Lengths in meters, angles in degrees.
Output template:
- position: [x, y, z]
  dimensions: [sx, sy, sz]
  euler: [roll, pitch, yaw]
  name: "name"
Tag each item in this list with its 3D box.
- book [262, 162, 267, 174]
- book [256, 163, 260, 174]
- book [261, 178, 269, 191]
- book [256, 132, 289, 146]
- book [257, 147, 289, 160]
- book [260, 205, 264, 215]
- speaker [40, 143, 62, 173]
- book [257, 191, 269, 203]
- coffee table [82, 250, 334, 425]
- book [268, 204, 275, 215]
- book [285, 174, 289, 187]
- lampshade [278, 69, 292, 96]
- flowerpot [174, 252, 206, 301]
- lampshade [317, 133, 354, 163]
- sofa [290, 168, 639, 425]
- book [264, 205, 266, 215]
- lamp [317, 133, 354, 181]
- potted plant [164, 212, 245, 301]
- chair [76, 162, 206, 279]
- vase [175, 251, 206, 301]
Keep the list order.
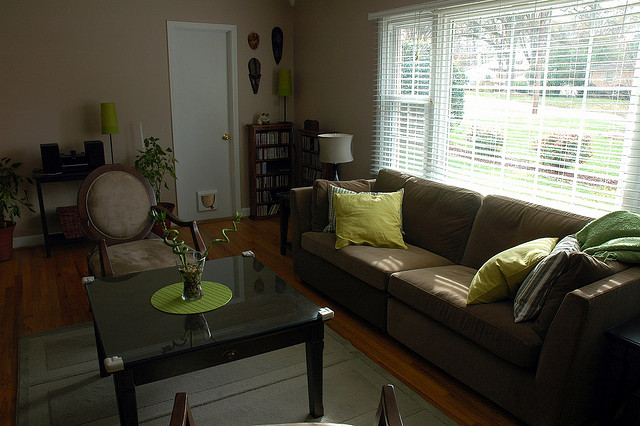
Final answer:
- position: [-0.768, -0.619, 6.129]
  dimensions: [0.029, 0.119, 0.122]
  euler: [6, 7, 11]
  name: "book"
- position: [-0.852, -0.603, 6.085]
  dimensions: [0.060, 0.148, 0.026]
  euler: [-8, 20, -20]
  name: "book"
- position: [-0.765, -0.399, 6.176]
  dimensions: [0.122, 0.169, 0.023]
  euler: [-8, 20, -19]
  name: "book"
- position: [-0.648, -1.019, 6.103]
  dimensions: [0.484, 0.177, 0.045]
  euler: [-11, 21, -29]
  name: "book"
- position: [-0.649, -0.827, 6.150]
  dimensions: [0.475, 0.157, 0.041]
  euler: [-12, 21, -30]
  name: "book"
- position: [-0.808, -0.037, 6.237]
  dimensions: [0.047, 0.147, 0.005]
  euler: [-9, 20, -21]
  name: "book"
- position: [-2.952, -0.595, 4.875]
  dimensions: [0.176, 0.300, 0.156]
  euler: [-9, 20, -23]
  name: "speaker"
- position: [-0.804, -0.218, 6.233]
  dimensions: [0.139, 0.180, 0.190]
  euler: [0, 7, -15]
  name: "book"
- position: [-0.774, 0.914, 3.104]
  dimensions: [1.364, 0.773, 1.238]
  euler: [-10, 20, -26]
  name: "coffee table"
- position: [-0.688, -0.043, 6.304]
  dimensions: [0.091, 0.142, 0.010]
  euler: [-10, 20, -25]
  name: "book"
- position: [-0.476, -0.452, 6.332]
  dimensions: [0.035, 0.138, 0.128]
  euler: [2, 7, 13]
  name: "book"
- position: [-0.487, -1.769, 6.044]
  dimensions: [0.186, 0.349, 0.218]
  euler: [-4, 19, -7]
  name: "lampshade"
- position: [-0.883, 0.447, 3.040]
  dimensions: [0.227, 0.290, 0.221]
  euler: [-7, -5, 35]
  name: "flowerpot"
- position: [0.184, -0.704, 5.016]
  dimensions: [0.364, 0.258, 0.376]
  euler: [3, 15, 9]
  name: "lampshade"
- position: [1.090, 0.635, 3.219]
  dimensions: [0.625, 0.690, 1.672]
  euler: [-6, 17, -32]
  name: "sofa"
- position: [-0.774, -0.039, 6.255]
  dimensions: [0.030, 0.137, 0.005]
  euler: [-18, 25, -41]
  name: "book"
- position: [0.176, -0.582, 5.086]
  dimensions: [0.553, 0.586, 0.547]
  euler: [2, 15, 10]
  name: "lamp"
- position: [-0.814, 0.318, 3.053]
  dimensions: [0.592, 0.566, 0.198]
  euler: [-8, -13, 11]
  name: "potted plant"
- position: [-1.742, 0.063, 4.183]
  dimensions: [0.985, 1.377, 1.002]
  euler: [-11, 19, -34]
  name: "chair"
- position: [-0.877, 0.433, 3.039]
  dimensions: [0.240, 0.316, 0.233]
  euler: [-3, -4, -23]
  name: "vase"
